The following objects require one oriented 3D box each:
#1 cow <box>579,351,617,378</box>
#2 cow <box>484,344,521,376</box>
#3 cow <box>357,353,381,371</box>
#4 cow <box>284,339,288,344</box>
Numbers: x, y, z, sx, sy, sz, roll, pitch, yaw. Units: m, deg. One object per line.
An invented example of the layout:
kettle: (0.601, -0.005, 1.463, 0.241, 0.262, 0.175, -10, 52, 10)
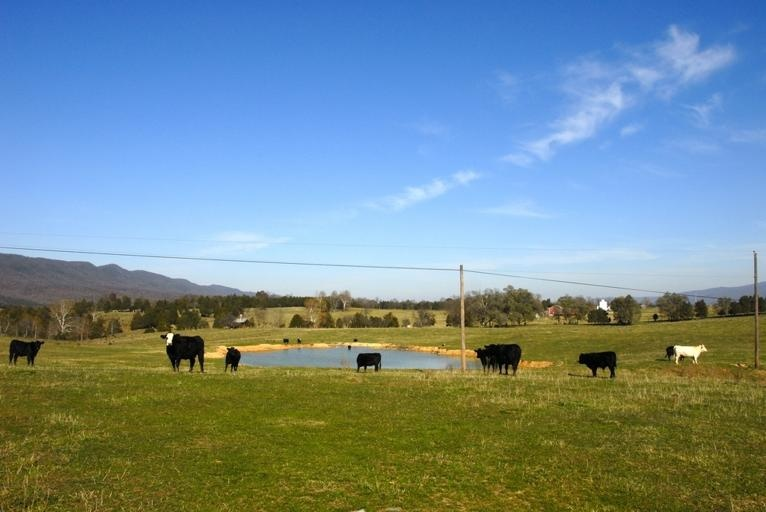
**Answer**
cow: (15.860, 7.965, 45.942, 1.971, 1.758, 3.103, -1, -3, 7)
cow: (9.668, 8.253, 49.937, 1.413, 2.453, 4.208, 0, -3, -18)
cow: (-1.186, 9.274, 54.492, 1.794, 1.523, 2.592, -1, -3, 6)
cow: (-15.575, 13.669, 100.122, 0.787, 0.799, 0.598, 1, -2, 6)
